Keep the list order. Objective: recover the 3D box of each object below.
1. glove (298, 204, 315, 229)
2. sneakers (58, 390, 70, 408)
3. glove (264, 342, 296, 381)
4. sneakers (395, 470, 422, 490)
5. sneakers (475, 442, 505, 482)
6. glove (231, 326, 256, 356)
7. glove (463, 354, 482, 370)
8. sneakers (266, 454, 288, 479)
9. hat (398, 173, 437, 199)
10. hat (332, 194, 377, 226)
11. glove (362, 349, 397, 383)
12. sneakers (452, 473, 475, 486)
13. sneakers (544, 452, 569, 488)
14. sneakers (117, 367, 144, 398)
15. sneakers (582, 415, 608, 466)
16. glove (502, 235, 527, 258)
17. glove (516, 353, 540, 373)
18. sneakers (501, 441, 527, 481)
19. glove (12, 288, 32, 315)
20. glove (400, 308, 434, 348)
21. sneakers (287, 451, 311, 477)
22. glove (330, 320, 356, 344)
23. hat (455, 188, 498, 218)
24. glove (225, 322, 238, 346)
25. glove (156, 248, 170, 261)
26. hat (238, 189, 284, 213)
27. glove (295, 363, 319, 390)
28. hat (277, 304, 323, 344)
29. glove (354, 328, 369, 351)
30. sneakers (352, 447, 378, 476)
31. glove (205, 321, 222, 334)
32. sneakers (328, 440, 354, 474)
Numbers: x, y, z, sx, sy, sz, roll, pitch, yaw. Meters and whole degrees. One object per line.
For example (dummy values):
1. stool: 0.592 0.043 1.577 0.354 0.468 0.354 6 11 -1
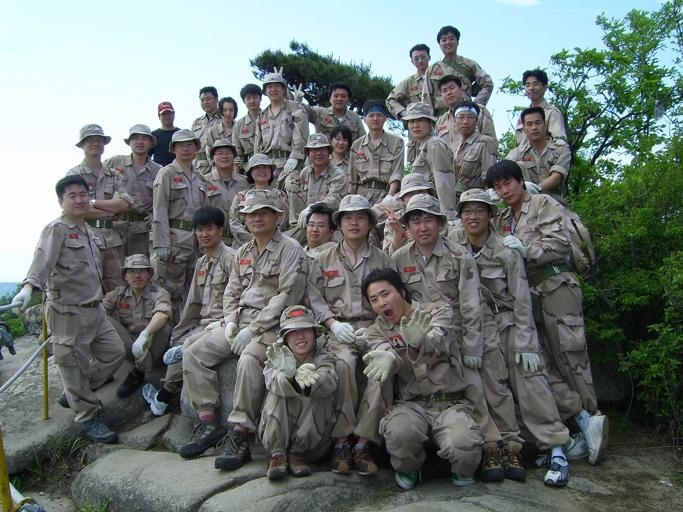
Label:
1. glove: -0.539 -0.592 7.712 0.099 0.351 0.256 14 19 -1
2. sneakers: -3.746 1.964 7.180 0.174 0.244 0.087 -8 -9 16
3. glove: -0.585 1.041 5.245 0.290 0.388 0.164 1 5 -2
4. sneakers: 0.669 2.237 5.275 0.111 0.144 0.328 20 -6 -14
5. sneakers: 1.527 2.078 5.328 0.202 0.311 0.290 2 5 13
6. glove: -1.138 0.962 6.077 0.227 0.309 0.082 24 -15 32
7. glove: 1.416 1.136 5.668 0.149 0.149 0.066 -9 -11 11
8. sneakers: -0.616 2.049 5.144 0.191 0.200 0.218 1 4 -9
9. hat: 0.960 -0.877 6.750 0.373 0.209 0.325 -1 -2 -4
10. hat: 0.163 -0.521 6.220 0.345 0.224 0.438 -4 -20 10
11. glove: 0.379 1.076 5.237 0.316 0.277 0.178 2 5 2
12. sneakers: 1.215 2.212 5.216 0.190 0.127 0.100 0 0 -20
13. sneakers: 2.230 2.199 5.414 0.224 0.221 0.505 -4 0 40
14. sneakers: -2.888 1.754 7.281 0.181 0.213 0.503 22 45 17
15. sneakers: 2.757 1.963 5.718 0.253 0.587 0.194 7 21 37
16. glove: 2.005 -0.098 6.062 0.266 0.235 0.153 3 5 17
17. glove: 2.065 1.161 5.769 0.211 0.222 0.060 -10 1 11
18. sneakers: 1.746 2.089 5.377 0.224 0.292 0.297 2 4 4
19. glove: -3.536 0.495 5.860 0.189 0.279 0.538 -1 5 -31
20. glove: 0.750 0.719 5.333 0.295 0.413 0.144 9 -10 1
21. sneakers: -0.416 2.057 5.235 0.223 0.183 0.209 0 4 -12
22. glove: 0.022 0.859 5.946 0.181 0.211 0.347 -1 5 -30
23. hat: 1.594 -0.613 6.061 0.473 0.296 0.303 2 4 4
24. glove: -1.305 0.914 6.226 0.170 0.237 0.123 -6 -17 42
25. glove: -2.683 -0.019 7.910 0.167 0.162 0.164 3 -9 -1
26. hat: -0.989 -0.650 6.579 0.484 0.240 0.618 -4 7 -2
27. glove: -0.306 1.204 5.262 0.282 0.246 0.186 -2 6 -37
28. hat: -0.470 0.708 5.681 0.335 0.228 0.442 -5 -28 -4
29. glove: 0.219 0.947 5.821 0.153 0.260 0.273 1 4 1
30. sneakers: 0.242 2.065 5.302 0.223 0.231 0.270 1 4 -4
31. glove: -1.577 0.870 6.503 0.173 0.056 0.130 -31 21 -28
32. sneakers: 0.017 2.031 5.358 0.210 0.250 0.306 1 4 0
